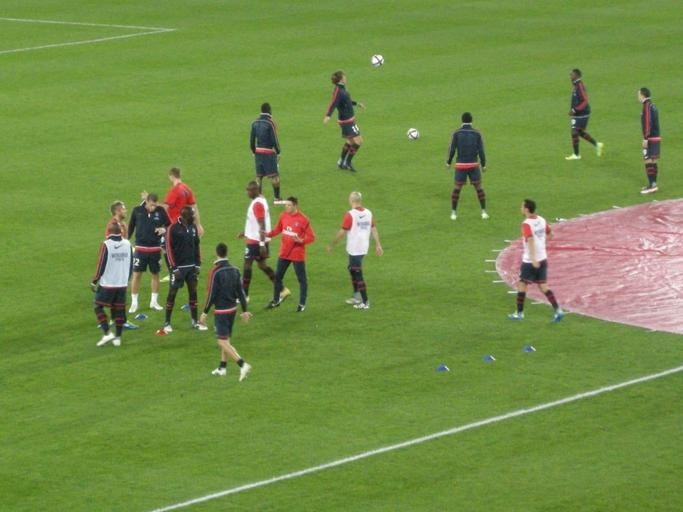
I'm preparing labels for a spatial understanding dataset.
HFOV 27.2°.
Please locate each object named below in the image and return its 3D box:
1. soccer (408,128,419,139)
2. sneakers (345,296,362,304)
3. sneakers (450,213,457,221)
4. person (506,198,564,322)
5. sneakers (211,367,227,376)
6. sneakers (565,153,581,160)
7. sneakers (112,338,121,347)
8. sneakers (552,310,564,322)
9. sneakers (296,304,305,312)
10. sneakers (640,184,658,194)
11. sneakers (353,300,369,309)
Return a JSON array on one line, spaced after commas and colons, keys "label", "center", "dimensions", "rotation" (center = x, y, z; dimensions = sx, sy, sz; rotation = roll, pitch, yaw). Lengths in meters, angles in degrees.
[{"label": "soccer", "center": [2.080, -3.568, 41.315], "dimensions": [0.260, 0.290, 0.235], "rotation": [-38, -12, -40]}, {"label": "sneakers", "center": [0.289, 0.983, 31.369], "dimensions": [0.412, 0.157, 0.128], "rotation": [4, 18, 16]}, {"label": "sneakers", "center": [2.843, -0.992, 35.981], "dimensions": [0.137, 0.098, 0.425], "rotation": [0, 12, 10]}, {"label": "person", "center": [4.107, 0.076, 30.497], "dimensions": [1.132, 2.593, 0.980], "rotation": [-5, 10, 11]}, {"label": "sneakers", "center": [-2.484, 2.324, 28.396], "dimensions": [0.140, 0.112, 0.285], "rotation": [-6, 14, -44]}, {"label": "sneakers", "center": [6.538, -2.801, 39.853], "dimensions": [0.469, 0.164, 0.142], "rotation": [2, 16, 4]}, {"label": "sneakers", "center": [-4.735, 1.798, 29.551], "dimensions": [0.219, 0.183, 0.143], "rotation": [3, 6, 31]}, {"label": "sneakers", "center": [4.669, 1.265, 30.381], "dimensions": [0.220, 0.248, 0.339], "rotation": [-5, 9, 9]}, {"label": "sneakers", "center": [-0.918, 1.144, 31.066], "dimensions": [0.167, 0.113, 0.298], "rotation": [0, 7, 10]}, {"label": "sneakers", "center": [8.025, -1.727, 36.985], "dimensions": [0.481, 0.175, 0.179], "rotation": [-1, 11, 37]}, {"label": "sneakers", "center": [0.406, 1.071, 31.122], "dimensions": [0.328, 0.129, 0.139], "rotation": [9, 13, 34]}]
